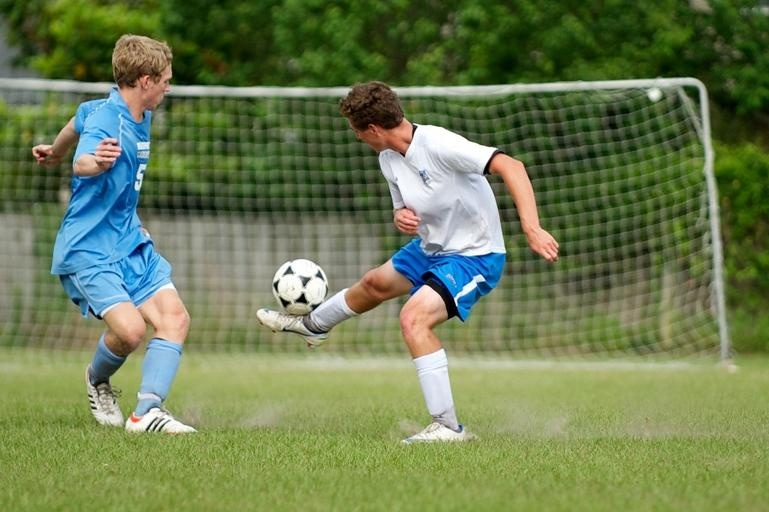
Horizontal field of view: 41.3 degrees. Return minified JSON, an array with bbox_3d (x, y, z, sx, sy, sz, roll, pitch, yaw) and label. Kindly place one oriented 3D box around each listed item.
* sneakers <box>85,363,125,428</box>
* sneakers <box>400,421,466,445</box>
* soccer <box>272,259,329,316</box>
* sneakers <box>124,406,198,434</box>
[{"bbox_3d":[-2.595,1.339,9.549,0.246,0.668,0.263,-18,-5,-36],"label":"sneakers"},{"bbox_3d":[0.434,1.540,8.954,0.563,0.207,0.207,2,-8,-12],"label":"sneakers"},{"bbox_3d":[-0.835,0.261,9.988,0.520,0.614,0.545,9,-31,-25],"label":"soccer"},{"bbox_3d":[-2.000,1.442,9.082,0.685,0.257,0.241,1,-5,1],"label":"sneakers"}]
